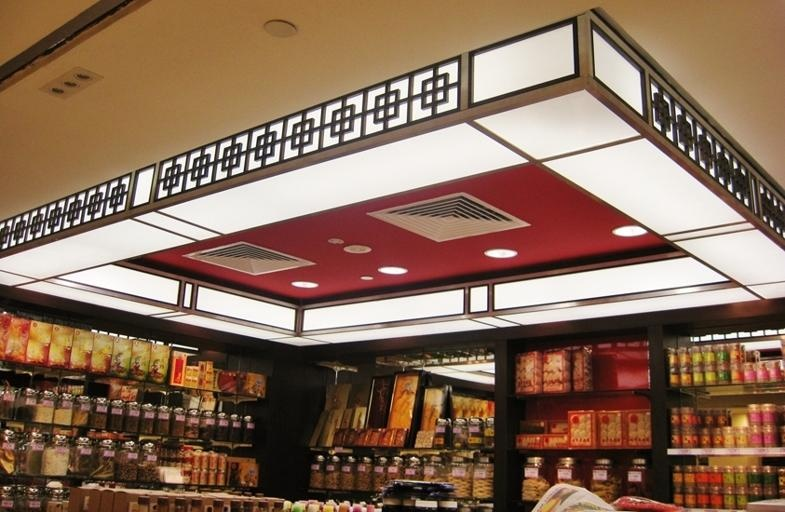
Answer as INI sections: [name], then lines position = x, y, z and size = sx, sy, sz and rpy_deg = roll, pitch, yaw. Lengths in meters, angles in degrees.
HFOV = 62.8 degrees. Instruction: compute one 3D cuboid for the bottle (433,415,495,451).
[bottle]
position = 0.831, 2.071, 7.545
size = 0.771, 0.351, 0.183
rpy_deg = -16, -31, 43
